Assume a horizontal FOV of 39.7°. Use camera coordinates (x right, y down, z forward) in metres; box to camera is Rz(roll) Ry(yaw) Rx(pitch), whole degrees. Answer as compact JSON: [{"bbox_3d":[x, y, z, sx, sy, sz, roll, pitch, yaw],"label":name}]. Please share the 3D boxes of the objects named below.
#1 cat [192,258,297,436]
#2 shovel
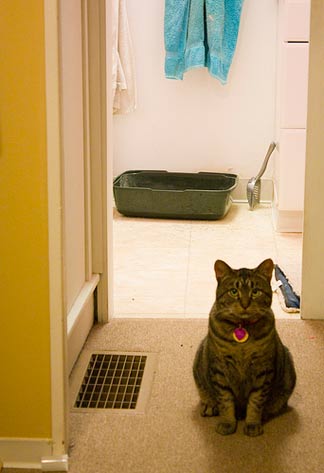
[{"bbox_3d":[0.205,0.238,1.091,0.263,0.404,0.254,-1,13,5],"label":"cat"},{"bbox_3d":[0.724,-0.477,3.279,0.086,0.563,0.149,18,-4,33],"label":"shovel"}]
